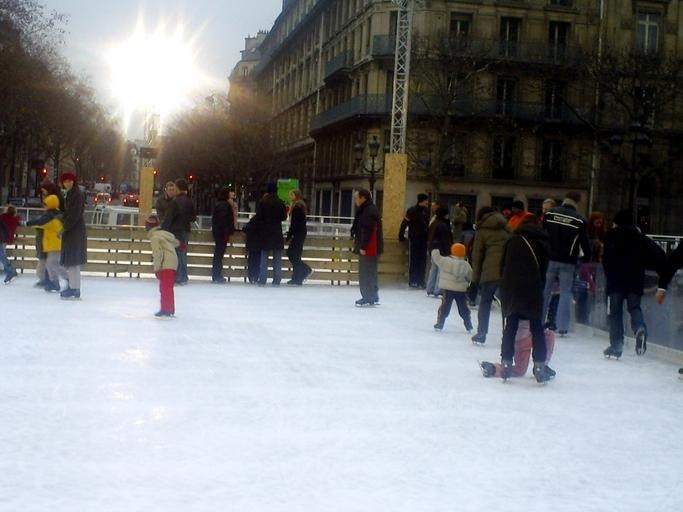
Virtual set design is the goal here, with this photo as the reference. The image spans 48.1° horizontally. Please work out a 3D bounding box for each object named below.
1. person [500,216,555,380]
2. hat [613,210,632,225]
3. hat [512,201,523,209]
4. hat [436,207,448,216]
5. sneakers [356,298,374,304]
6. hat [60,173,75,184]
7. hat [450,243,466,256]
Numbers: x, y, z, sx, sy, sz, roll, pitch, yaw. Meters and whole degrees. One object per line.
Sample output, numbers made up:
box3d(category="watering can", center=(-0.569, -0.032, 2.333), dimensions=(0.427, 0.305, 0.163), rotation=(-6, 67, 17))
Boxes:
box3d(category="person", center=(2.205, 0.505, 9.056), dimensions=(0.634, 1.939, 0.548), rotation=(3, 4, 13))
box3d(category="hat", center=(3.922, -0.559, 10.651), dimensions=(0.242, 0.273, 0.202), rotation=(-3, 10, -25))
box3d(category="hat", center=(3.142, -0.895, 13.602), dimensions=(0.142, 0.125, 0.152), rotation=(6, 8, 27))
box3d(category="hat", center=(2.121, -0.892, 15.860), dimensions=(0.179, 0.185, 0.170), rotation=(6, 0, -21))
box3d(category="sneakers", center=(0.461, 0.916, 15.210), dimensions=(0.348, 0.152, 0.291), rotation=(2, 5, 0))
box3d(category="hat", center=(-4.953, -1.406, 13.787), dimensions=(0.222, 0.220, 0.184), rotation=(2, 7, -22))
box3d(category="hat", center=(1.837, -0.084, 11.987), dimensions=(0.205, 0.200, 0.316), rotation=(2, 5, 6))
